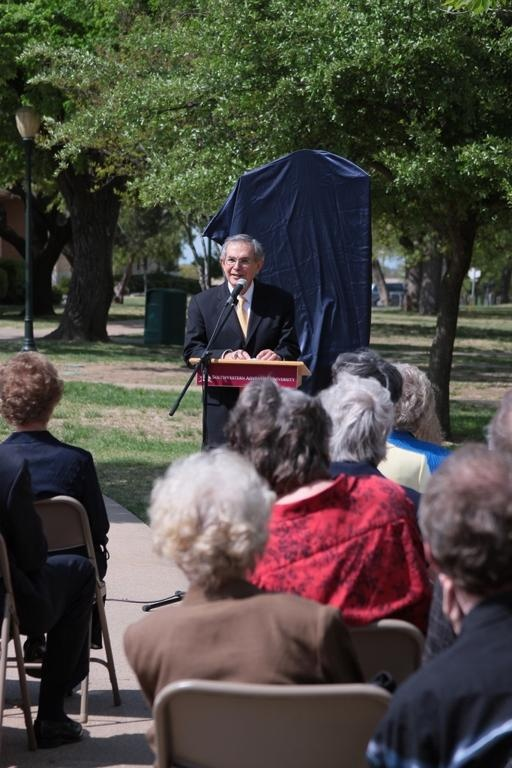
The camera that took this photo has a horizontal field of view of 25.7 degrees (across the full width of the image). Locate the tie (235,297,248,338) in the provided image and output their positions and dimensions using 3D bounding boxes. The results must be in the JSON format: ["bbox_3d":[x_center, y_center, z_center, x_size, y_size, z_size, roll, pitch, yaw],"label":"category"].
[{"bbox_3d":[-0.067,-0.332,5.592,0.039,0.258,0.030,2,-18,-10],"label":"tie"}]

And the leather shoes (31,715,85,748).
[{"bbox_3d":[-0.639,1.097,3.579,0.069,0.062,0.154,-1,-1,35],"label":"leather shoes"}]
